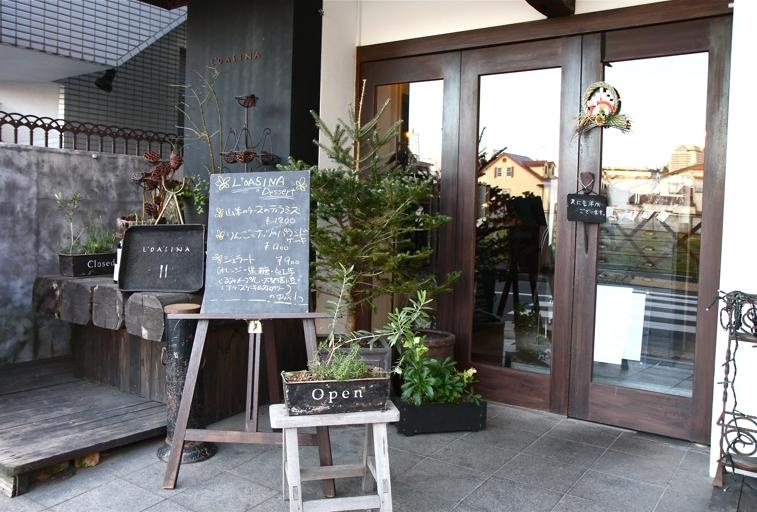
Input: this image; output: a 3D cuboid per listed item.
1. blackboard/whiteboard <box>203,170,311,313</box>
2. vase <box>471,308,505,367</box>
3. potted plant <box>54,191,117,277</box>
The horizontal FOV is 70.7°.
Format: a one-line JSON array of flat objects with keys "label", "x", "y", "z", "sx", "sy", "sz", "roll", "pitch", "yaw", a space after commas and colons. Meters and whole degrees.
[{"label": "blackboard/whiteboard", "x": -0.796, "y": -0.076, "z": 3.556, "sx": 0.987, "sy": 1.276, "sz": 0.059, "roll": 0, "pitch": -9, "yaw": 0}, {"label": "vase", "x": 1.119, "y": 0.752, "z": 4.970, "sx": 0.274, "sy": 0.459, "sz": 0.495, "roll": 3, "pitch": 0, "yaw": -27}, {"label": "potted plant", "x": -2.820, "y": -0.247, "z": 5.136, "sx": 0.459, "sy": 0.699, "sz": 1.145, "roll": -6, "pitch": 15, "yaw": -29}]
